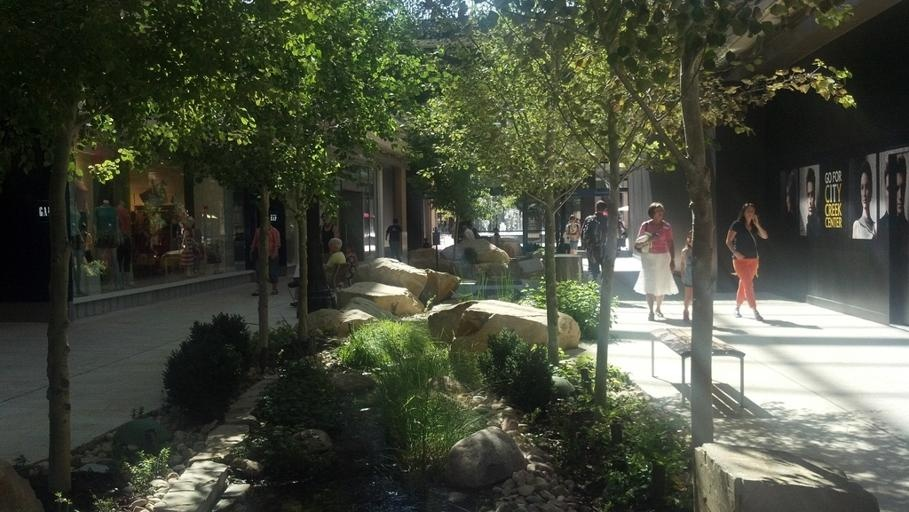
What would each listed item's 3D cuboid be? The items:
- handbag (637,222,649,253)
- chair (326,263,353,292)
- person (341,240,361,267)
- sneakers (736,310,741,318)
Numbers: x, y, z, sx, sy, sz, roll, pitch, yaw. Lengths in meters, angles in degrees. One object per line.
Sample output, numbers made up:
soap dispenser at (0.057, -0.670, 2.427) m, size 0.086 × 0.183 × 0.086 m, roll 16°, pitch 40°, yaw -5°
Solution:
handbag at (3.743, -0.397, 13.174) m, size 0.214 × 0.534 × 0.404 m, roll 4°, pitch -5°, yaw 7°
chair at (-2.794, 0.503, 15.500) m, size 0.544 × 0.739 × 0.553 m, roll 1°, pitch 2°, yaw 26°
person at (-3.124, -0.107, 19.825) m, size 0.513 × 0.386 × 0.917 m, roll -19°, pitch -39°, yaw 30°
sneakers at (5.863, 1.188, 13.711) m, size 0.094 × 0.196 × 0.203 m, roll 4°, pitch 7°, yaw 33°
